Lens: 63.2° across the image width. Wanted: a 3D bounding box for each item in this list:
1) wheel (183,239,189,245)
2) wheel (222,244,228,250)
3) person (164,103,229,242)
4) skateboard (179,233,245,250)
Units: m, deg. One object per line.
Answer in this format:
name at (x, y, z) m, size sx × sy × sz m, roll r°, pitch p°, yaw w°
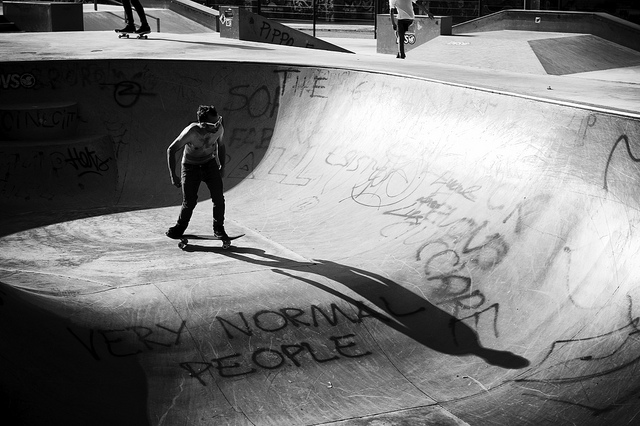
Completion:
wheel at (-2.151, 0.458, 8.323) m, size 0.093 × 0.063 × 0.087 m, roll 2°, pitch 0°, yaw 0°
wheel at (-1.509, 0.529, 8.254) m, size 0.094 × 0.078 × 0.035 m, roll 12°, pitch 24°, yaw 23°
person at (-1.893, -0.543, 8.060) m, size 0.880 × 2.158 × 0.625 m, roll -3°, pitch 23°, yaw -13°
skateboard at (-1.824, 0.415, 8.567) m, size 1.266 × 0.209 × 0.305 m, roll 7°, pitch 22°, yaw 3°
